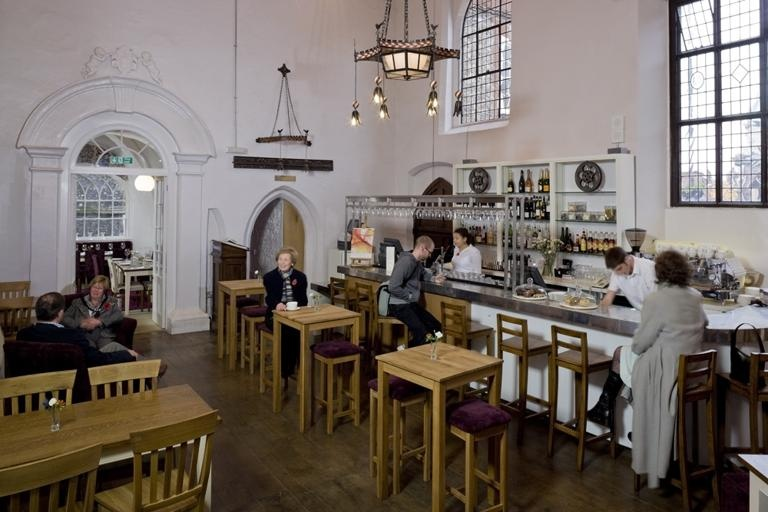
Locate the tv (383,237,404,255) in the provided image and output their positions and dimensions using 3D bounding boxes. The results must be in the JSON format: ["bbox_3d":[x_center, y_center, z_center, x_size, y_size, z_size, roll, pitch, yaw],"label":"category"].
[{"bbox_3d":[0.131,-0.140,8.658,0.319,0.335,0.247,-3,-5,31],"label":"tv"}]

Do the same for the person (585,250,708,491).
[{"bbox_3d":[2.736,1.159,5.283,0.837,2.408,0.527,0,5,31],"label":"person"}]

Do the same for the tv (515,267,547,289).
[{"bbox_3d":[1.934,0.280,6.855,0.276,0.275,0.136,6,4,33],"label":"tv"}]

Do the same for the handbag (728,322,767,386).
[{"bbox_3d":[3.647,0.971,5.263,0.282,0.546,0.692,1,6,36],"label":"handbag"}]

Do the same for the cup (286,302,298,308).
[{"bbox_3d":[-1.202,0.623,6.803,0.095,0.066,0.079,3,-1,-22],"label":"cup"}]

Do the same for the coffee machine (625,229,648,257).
[{"bbox_3d":[3.872,-0.203,8.104,0.367,0.527,0.377,0,3,4],"label":"coffee machine"}]
